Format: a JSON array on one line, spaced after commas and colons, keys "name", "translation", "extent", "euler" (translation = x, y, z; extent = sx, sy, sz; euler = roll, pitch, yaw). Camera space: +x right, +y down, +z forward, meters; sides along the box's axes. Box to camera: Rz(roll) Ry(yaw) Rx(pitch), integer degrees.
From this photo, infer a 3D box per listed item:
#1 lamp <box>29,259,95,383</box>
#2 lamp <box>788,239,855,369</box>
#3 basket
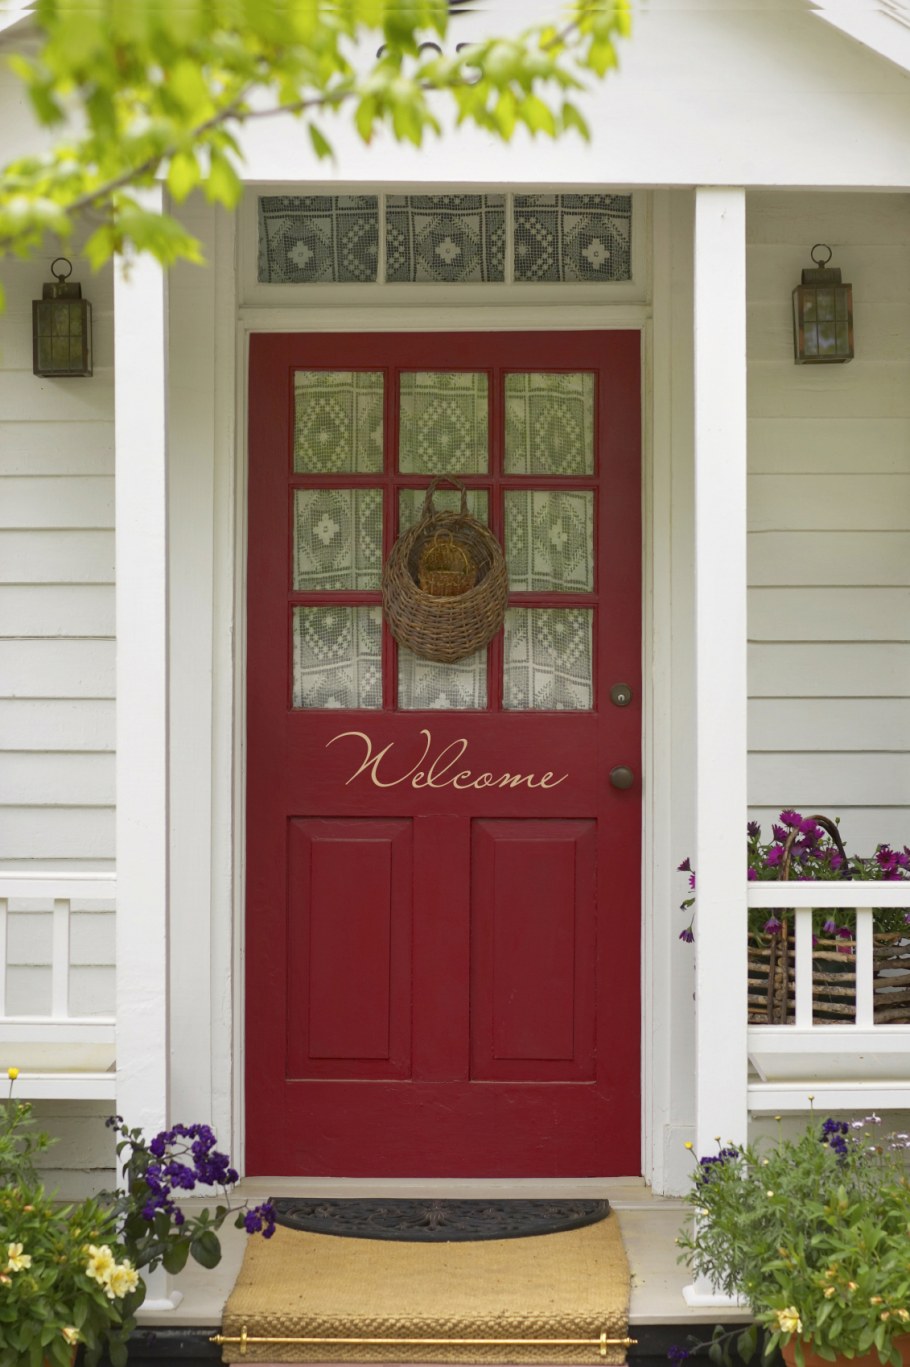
[{"name": "lamp", "translation": [-0.833, -0.742, 3.961], "extent": [0.130, 0.192, 0.091], "euler": [-2, -2, -10]}, {"name": "lamp", "translation": [0.789, -0.784, 4.029], "extent": [0.133, 0.145, 0.102], "euler": [-2, -2, 8]}, {"name": "basket", "translation": [-0.018, -0.214, 3.975], "extent": [0.267, 0.322, 0.154], "euler": [6, -7, -3]}]
